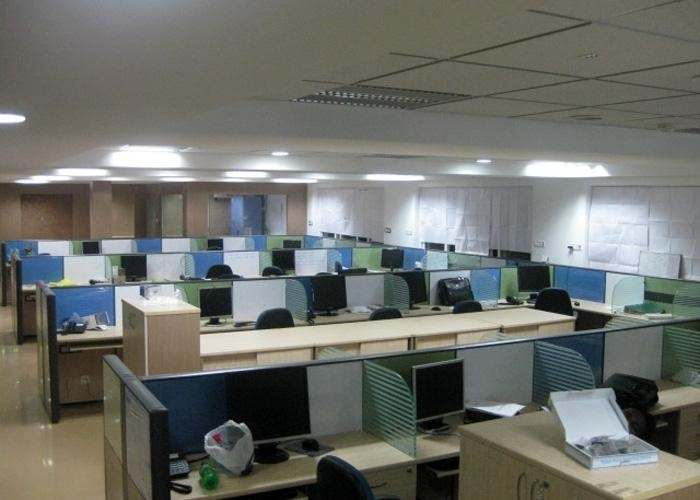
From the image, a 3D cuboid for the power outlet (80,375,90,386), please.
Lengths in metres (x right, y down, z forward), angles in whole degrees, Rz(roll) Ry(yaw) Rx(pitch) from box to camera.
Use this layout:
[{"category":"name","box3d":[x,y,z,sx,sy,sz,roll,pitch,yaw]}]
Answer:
[{"category":"power outlet","box3d":[-3.068,1.492,6.266,0.111,0.096,0.025,5,-2,-17]}]

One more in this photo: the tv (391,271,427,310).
[{"category":"tv","box3d":[0.805,0.544,7.530,0.336,0.581,0.459,-10,10,-40]}]

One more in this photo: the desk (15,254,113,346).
[{"category":"desk","box3d":[-4.155,0.554,7.836,1.294,0.817,1.259,12,1,34]}]

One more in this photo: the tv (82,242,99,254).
[{"category":"tv","box3d":[-5.088,-0.074,10.639,0.296,0.265,0.294,1,0,-16]}]

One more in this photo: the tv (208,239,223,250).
[{"category":"tv","box3d":[-3.081,-0.181,12.450,0.387,0.266,0.256,1,0,-26]}]

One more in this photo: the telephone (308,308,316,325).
[{"category":"telephone","box3d":[-0.471,0.804,6.581,0.113,0.144,0.053,3,-8,1]}]

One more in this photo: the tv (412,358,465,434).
[{"category":"tv","box3d":[0.627,1.051,3.932,0.520,0.510,0.188,-4,0,-36]}]

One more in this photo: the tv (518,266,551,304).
[{"category":"tv","box3d":[2.732,0.491,8.043,0.564,0.534,0.194,-1,3,-17]}]

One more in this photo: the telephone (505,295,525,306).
[{"category":"telephone","box3d":[2.461,0.738,8.058,0.220,0.088,0.119,-1,8,-7]}]

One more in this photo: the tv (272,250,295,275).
[{"category":"tv","box3d":[-1.249,0.190,10.061,0.454,0.462,0.170,-3,7,-31]}]

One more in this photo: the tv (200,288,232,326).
[{"category":"tv","box3d":[-1.598,0.654,6.410,0.454,0.460,0.227,0,1,-26]}]

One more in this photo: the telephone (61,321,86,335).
[{"category":"telephone","box3d":[-3.126,0.855,6.101,0.286,0.158,0.177,1,0,-6]}]

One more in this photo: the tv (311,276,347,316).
[{"category":"tv","box3d":[-0.291,0.578,6.967,0.521,0.474,0.184,-1,-2,-33]}]

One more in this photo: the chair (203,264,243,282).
[{"category":"chair","box3d":[-2.175,0.347,9.143,0.487,0.255,0.970,1,0,-15]}]

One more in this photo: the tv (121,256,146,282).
[{"category":"tv","box3d":[-3.607,0.292,9.047,0.453,0.400,0.103,5,1,-37]}]
